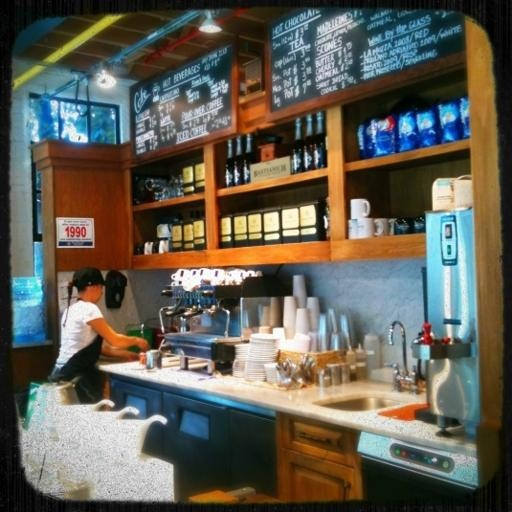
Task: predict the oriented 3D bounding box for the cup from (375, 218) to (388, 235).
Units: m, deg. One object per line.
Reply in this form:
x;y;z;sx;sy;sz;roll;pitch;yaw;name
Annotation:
0.627;-0.146;2.576;0.090;0.089;0.053;-4;3;-36;cup

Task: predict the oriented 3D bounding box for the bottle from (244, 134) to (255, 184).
-0.043;-0.673;3.573;0.089;0.335;0.092;1;10;0;bottle

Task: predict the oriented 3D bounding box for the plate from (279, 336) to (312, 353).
0.231;0.529;3.072;0.131;0.095;0.104;-2;-8;10;plate

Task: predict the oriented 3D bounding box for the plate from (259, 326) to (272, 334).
0.063;0.479;3.343;0.052;0.047;0.052;-1;1;9;plate

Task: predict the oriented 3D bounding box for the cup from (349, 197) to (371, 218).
0.537;-0.246;2.665;0.094;0.143;0.121;1;-10;8;cup

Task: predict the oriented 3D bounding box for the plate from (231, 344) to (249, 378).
-0.101;0.650;3.196;0.171;0.181;0.163;2;-9;-5;plate

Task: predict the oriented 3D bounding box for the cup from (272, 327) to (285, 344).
0.142;0.484;3.152;0.078;0.083;0.078;-1;6;0;cup

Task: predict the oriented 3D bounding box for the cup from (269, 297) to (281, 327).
0.135;0.372;3.421;0.082;0.198;0.051;2;-9;-4;cup

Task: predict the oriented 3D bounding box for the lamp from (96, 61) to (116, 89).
-1.061;-1.243;3.592;0.139;0.174;0.067;-16;9;-43;lamp

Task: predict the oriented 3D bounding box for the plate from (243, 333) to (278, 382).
0.023;0.591;3.031;0.269;0.308;0.234;2;-11;3;plate

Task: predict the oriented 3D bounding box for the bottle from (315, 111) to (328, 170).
0.362;-0.669;2.945;0.082;0.352;0.070;2;14;13;bottle

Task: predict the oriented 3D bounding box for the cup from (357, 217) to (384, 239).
0.576;-0.142;2.581;0.078;0.092;0.126;0;1;-44;cup
